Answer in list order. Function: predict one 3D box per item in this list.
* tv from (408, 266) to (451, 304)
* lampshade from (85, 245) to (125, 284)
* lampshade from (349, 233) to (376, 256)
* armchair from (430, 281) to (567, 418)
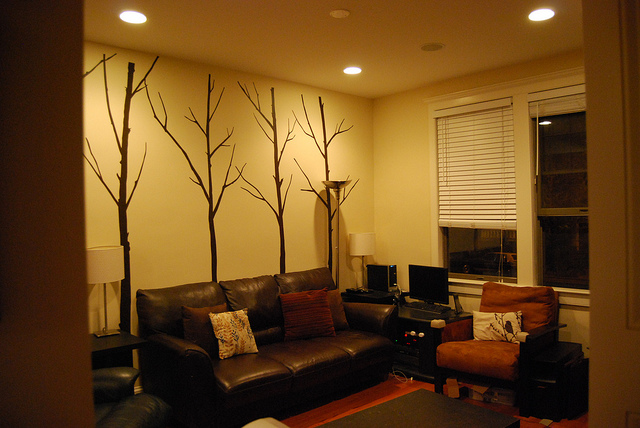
[{"bbox_3d":[1.133,0.744,5.014,0.396,0.289,0.042,-2,1,45],"label":"tv"},{"bbox_3d":[-1.553,0.398,3.726,0.247,0.285,0.281,-3,-9,27],"label":"lampshade"},{"bbox_3d":[0.448,0.343,5.322,0.229,0.258,0.245,-4,-4,29],"label":"lampshade"},{"bbox_3d":[1.625,1.116,4.441,0.962,1.143,1.131,-4,-6,43],"label":"armchair"}]
